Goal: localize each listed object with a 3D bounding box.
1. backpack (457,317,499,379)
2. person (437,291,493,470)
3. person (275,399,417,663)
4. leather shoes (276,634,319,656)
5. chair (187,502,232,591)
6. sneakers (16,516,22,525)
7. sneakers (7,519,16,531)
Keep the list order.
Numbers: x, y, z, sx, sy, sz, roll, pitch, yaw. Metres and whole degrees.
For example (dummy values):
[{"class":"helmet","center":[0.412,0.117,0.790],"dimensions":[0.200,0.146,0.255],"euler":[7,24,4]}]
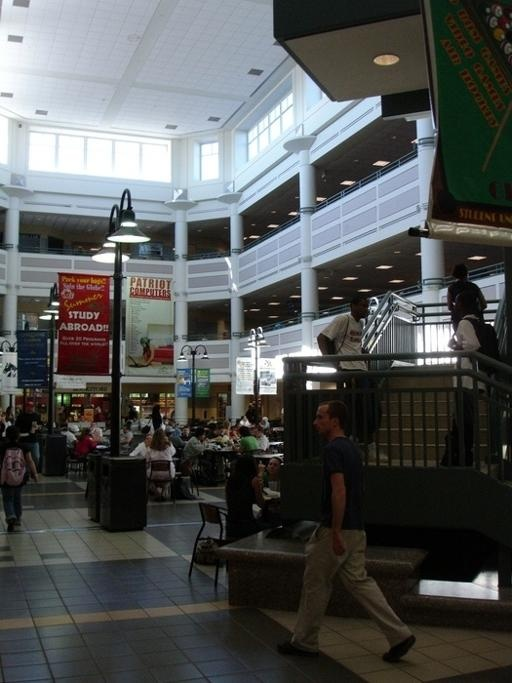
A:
[{"class":"backpack","center":[1.821,0.063,5.220],"dimensions":[0.295,0.530,0.416],"euler":[-20,3,25]},{"class":"person","center":[1.771,0.271,5.261],"dimensions":[0.452,1.433,1.421],"euler":[-2,-4,21]},{"class":"person","center":[0.504,1.109,3.670],"dimensions":[0.754,1.517,0.470],"euler":[0,-4,0]},{"class":"leather shoes","center":[0.245,1.785,3.761],"dimensions":[0.248,0.091,0.095],"euler":[4,-6,14]},{"class":"chair","center":[-0.430,2.171,6.849],"dimensions":[0.490,0.734,0.458],"euler":[4,-7,28]},{"class":"sneakers","center":[-3.535,2.680,9.425],"dimensions":[0.106,0.137,0.053],"euler":[1,4,-29]},{"class":"sneakers","center":[-3.578,2.669,9.284],"dimensions":[0.095,0.257,0.114],"euler":[-1,3,-3]}]
